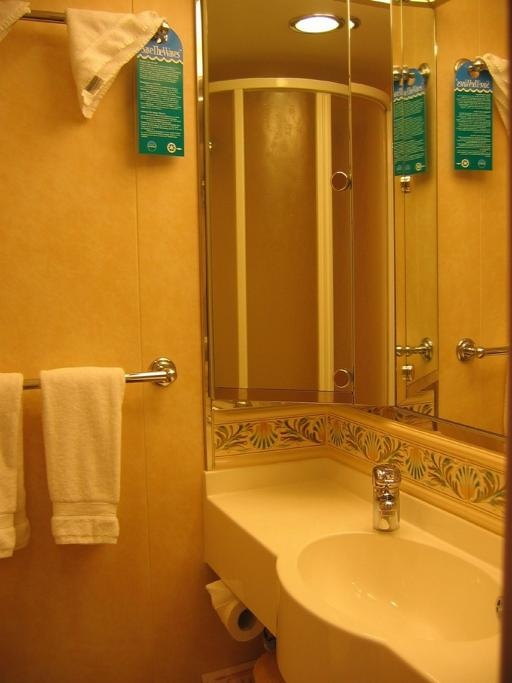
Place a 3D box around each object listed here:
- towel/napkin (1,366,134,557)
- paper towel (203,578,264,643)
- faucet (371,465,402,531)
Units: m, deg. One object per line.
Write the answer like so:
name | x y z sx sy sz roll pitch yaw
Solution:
towel/napkin | -0.450 0.272 1.360 0.382 0.567 0.075 -1 -2 -18
paper towel | -0.072 0.692 1.529 0.107 0.124 0.192 -7 3 -37
faucet | 0.292 0.338 1.314 0.063 0.141 0.115 -3 3 11
